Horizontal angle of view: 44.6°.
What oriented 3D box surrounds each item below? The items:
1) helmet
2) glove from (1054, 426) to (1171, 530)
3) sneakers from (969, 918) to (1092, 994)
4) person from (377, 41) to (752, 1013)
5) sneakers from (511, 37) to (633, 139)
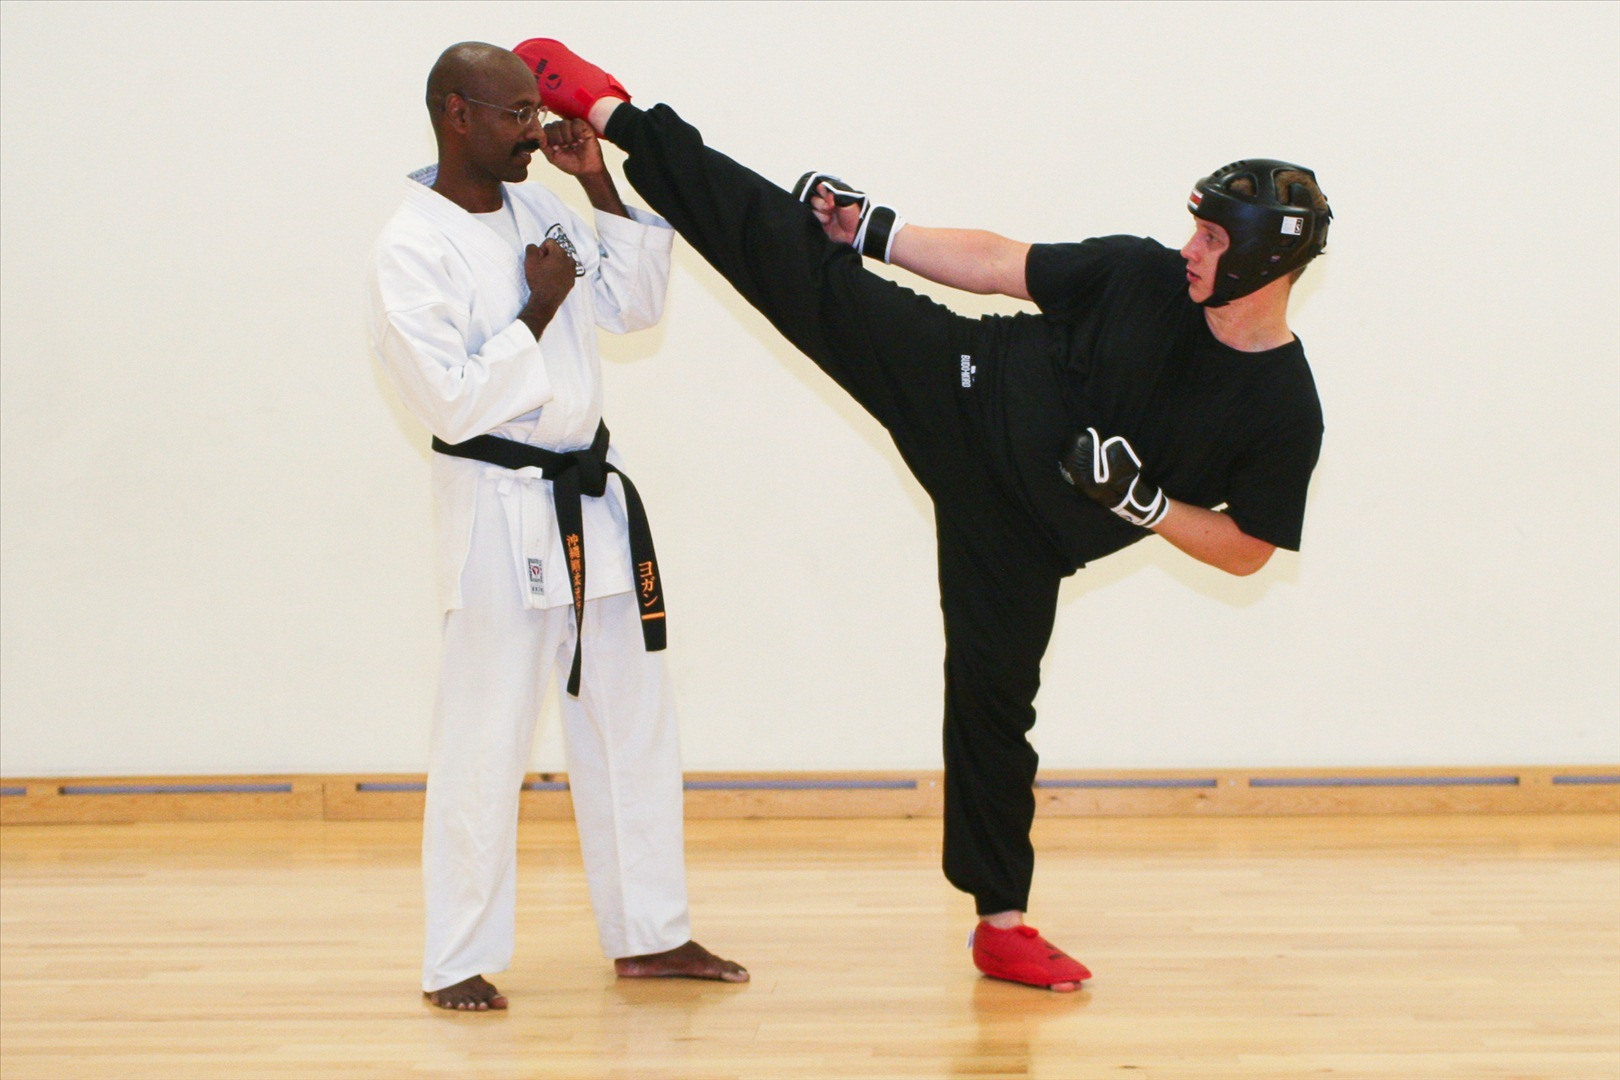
[{"bbox_3d":[1.242,-0.868,5.430,0.445,0.350,0.331,0,8,-1],"label":"helmet"},{"bbox_3d":[0.851,-0.172,5.569,0.345,0.201,0.118,32,-9,-12],"label":"glove"},{"bbox_3d":[0.646,1.225,5.815,0.325,0.130,0.172,1,-2,17],"label":"sneakers"},{"bbox_3d":[-0.776,-0.028,5.698,0.936,2.732,0.401,0,8,-12],"label":"person"},{"bbox_3d":[-0.709,-1.303,5.748,0.374,0.197,0.132,32,-27,-7],"label":"sneakers"}]
